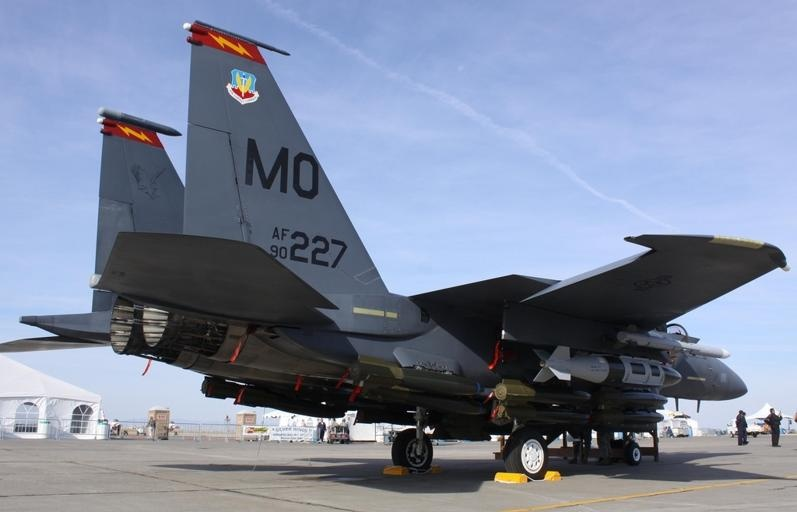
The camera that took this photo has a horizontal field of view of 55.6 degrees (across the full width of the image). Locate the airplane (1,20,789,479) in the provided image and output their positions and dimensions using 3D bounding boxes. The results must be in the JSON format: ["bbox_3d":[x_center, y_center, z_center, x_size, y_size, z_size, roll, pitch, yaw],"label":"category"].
[{"bbox_3d":[0.468,1.018,15.741,13.231,4.044,12.884,5,-8,-30],"label":"airplane"}]
